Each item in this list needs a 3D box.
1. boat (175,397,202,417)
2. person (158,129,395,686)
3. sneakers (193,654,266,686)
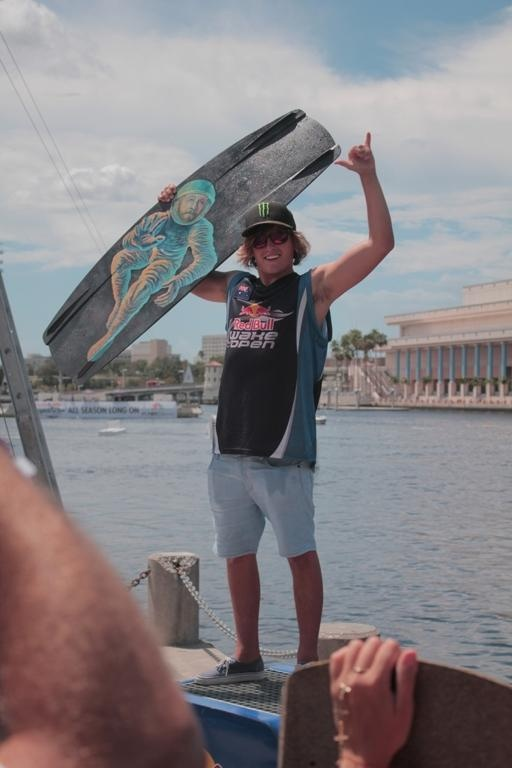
[{"bbox_3d":[-6.141,1.900,112.142,2.382,2.777,1.009,-3,-5,5],"label":"boat"},{"bbox_3d":[0.058,0.083,4.319,0.552,1.834,0.768,1,0,-25],"label":"person"},{"bbox_3d":[-0.091,1.005,4.199,0.247,0.074,0.085,1,-15,-17],"label":"sneakers"}]
